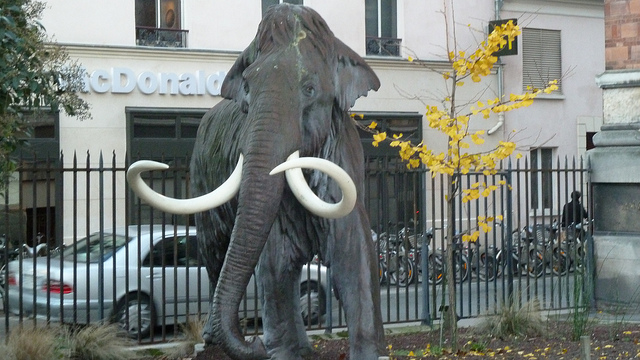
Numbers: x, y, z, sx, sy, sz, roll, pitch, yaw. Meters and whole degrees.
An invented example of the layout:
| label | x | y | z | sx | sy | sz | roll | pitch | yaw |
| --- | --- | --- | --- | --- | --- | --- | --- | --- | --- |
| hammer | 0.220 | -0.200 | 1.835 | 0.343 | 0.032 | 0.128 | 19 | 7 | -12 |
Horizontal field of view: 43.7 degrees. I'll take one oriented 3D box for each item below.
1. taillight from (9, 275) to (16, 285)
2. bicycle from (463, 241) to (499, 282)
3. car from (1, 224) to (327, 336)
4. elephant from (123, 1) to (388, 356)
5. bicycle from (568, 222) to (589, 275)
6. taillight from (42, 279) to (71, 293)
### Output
| label | x | y | z | sx | sy | sz | roll | pitch | yaw |
| --- | --- | --- | --- | --- | --- | --- | --- | --- | --- |
| taillight | -6.075 | 1.962 | 15.805 | 0.191 | 0.184 | 0.040 | -3 | -5 | 33 |
| bicycle | 3.721 | 1.946 | 18.579 | 0.730 | 0.932 | 3.743 | -1 | -4 | 13 |
| car | -2.807 | 1.828 | 14.321 | 7.129 | 2.330 | 2.615 | 0 | -2 | -19 |
| elephant | -0.709 | 0.070 | 13.160 | 3.533 | 6.003 | 4.988 | 1 | 2 | -6 |
| bicycle | 5.675 | 1.484 | 17.607 | 0.387 | 1.165 | 5.026 | -1 | -4 | 18 |
| taillight | -5.155 | 2.068 | 15.533 | 0.404 | 0.152 | 0.297 | 5 | -5 | 28 |
